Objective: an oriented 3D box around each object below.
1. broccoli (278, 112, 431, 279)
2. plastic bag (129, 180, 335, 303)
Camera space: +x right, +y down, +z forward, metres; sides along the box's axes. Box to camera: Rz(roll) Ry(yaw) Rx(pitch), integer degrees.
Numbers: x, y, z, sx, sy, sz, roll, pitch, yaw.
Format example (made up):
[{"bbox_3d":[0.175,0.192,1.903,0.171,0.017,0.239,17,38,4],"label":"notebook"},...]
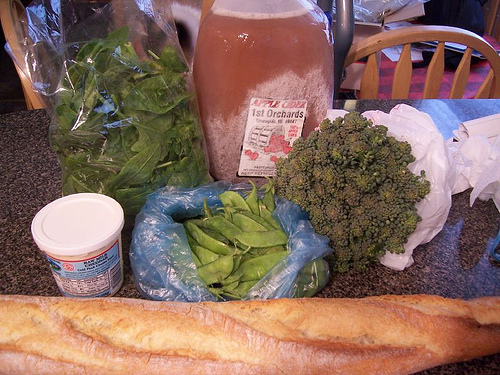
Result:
[{"bbox_3d":[0.323,-0.036,0.926,0.334,0.155,0.342,30,12,41],"label":"broccoli"},{"bbox_3d":[-0.040,0.105,0.868,0.418,0.122,0.287,3,44,1],"label":"plastic bag"}]
